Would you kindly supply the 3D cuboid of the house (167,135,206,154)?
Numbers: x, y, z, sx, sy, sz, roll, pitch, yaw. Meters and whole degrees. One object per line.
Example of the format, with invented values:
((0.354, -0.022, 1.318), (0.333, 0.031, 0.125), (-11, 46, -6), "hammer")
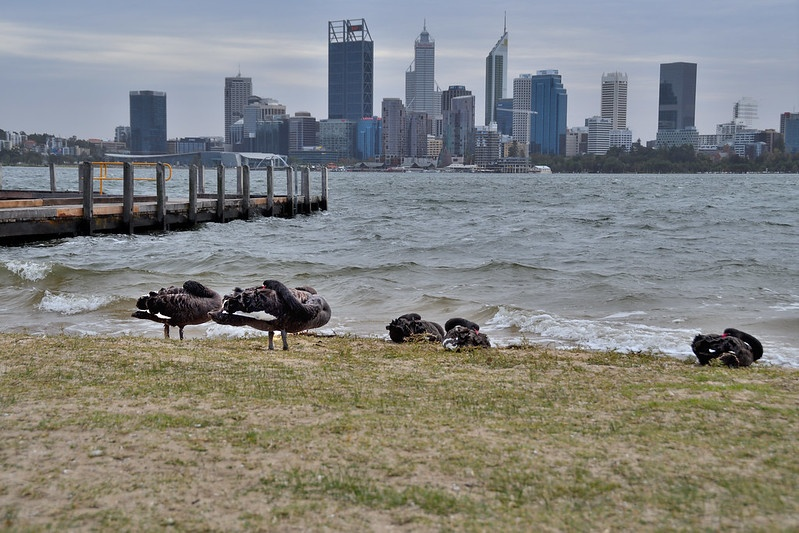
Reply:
((-72.643, -41.114, 348.214), (13.358, 4.837, 79.115), (-1, 7, -12), "house")
